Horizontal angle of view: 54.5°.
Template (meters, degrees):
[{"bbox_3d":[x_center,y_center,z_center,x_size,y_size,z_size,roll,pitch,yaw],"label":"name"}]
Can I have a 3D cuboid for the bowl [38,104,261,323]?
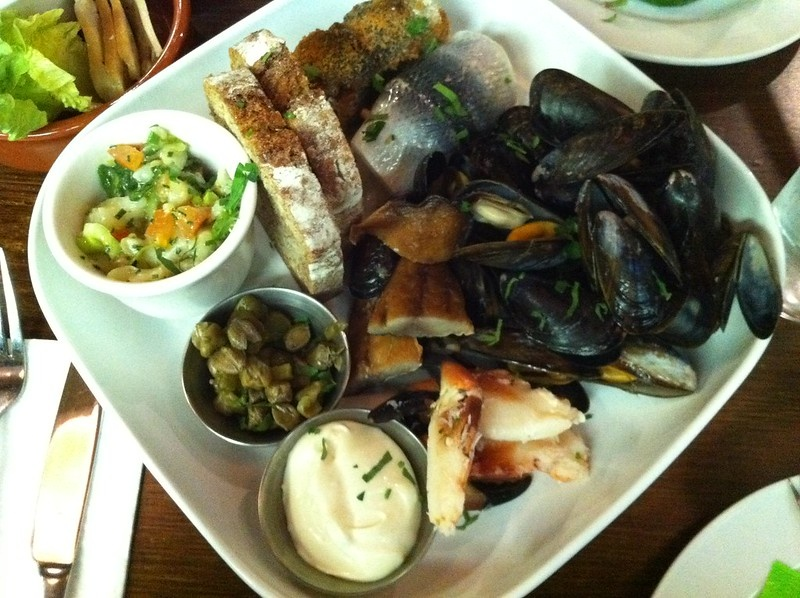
[{"bbox_3d":[-0.595,-0.214,1.997,0.514,0.301,0.498,0,85,0],"label":"bowl"}]

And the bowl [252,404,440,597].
[{"bbox_3d":[-0.136,0.513,1.968,0.425,0.103,0.460,0,84,0],"label":"bowl"}]
